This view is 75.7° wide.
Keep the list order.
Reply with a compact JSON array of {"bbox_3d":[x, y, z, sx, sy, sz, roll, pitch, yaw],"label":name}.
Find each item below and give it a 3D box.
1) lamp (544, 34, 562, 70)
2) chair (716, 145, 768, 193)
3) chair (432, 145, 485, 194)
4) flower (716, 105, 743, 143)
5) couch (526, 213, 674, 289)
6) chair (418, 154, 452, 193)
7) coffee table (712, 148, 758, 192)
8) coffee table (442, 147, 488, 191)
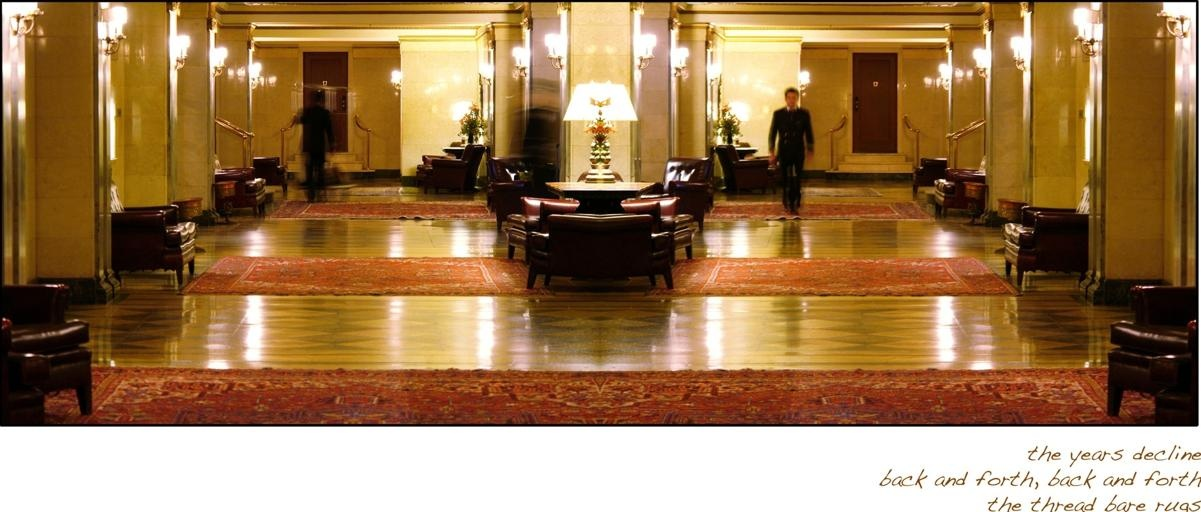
[{"bbox_3d":[-1.029,-4.581,17.205,0.239,0.755,0.662,-3,10,-15],"label":"lamp"},{"bbox_3d":[4.592,-2.666,23.704,2.140,1.459,1.795,-1,8,-1],"label":"chair"},{"bbox_3d":[-4.363,-2.631,23.183,1.018,1.399,1.320,6,11,28],"label":"chair"},{"bbox_3d":[4.117,-4.243,24.924,0.727,1.234,1.319,2,10,11],"label":"flower"},{"bbox_3d":[0.636,-0.052,12.248,2.717,1.038,2.108,-1,-3,43],"label":"couch"},{"bbox_3d":[-4.972,-2.566,23.768,1.283,0.995,1.856,-1,12,-16],"label":"chair"},{"bbox_3d":[4.523,-2.678,23.755,1.854,1.590,1.664,-1,12,0],"label":"coffee table"},{"bbox_3d":[-4.480,-2.685,23.785,1.774,1.495,1.509,0,3,6],"label":"coffee table"}]
